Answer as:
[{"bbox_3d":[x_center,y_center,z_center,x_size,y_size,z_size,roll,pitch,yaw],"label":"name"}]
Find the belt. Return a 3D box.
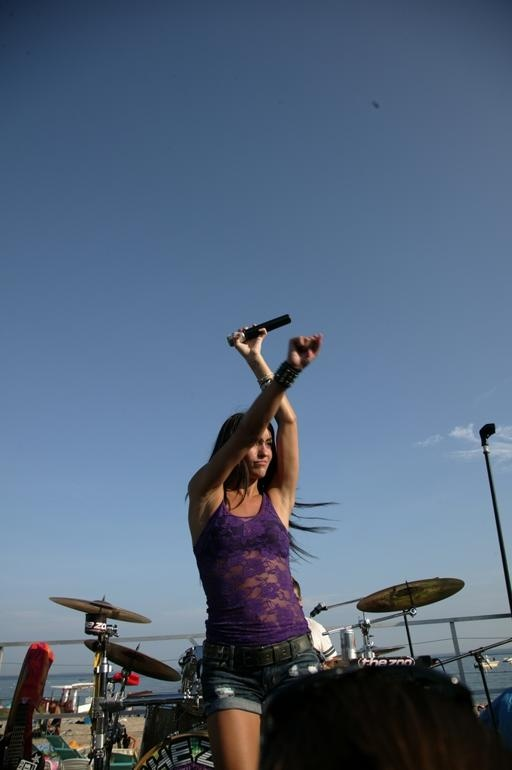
[{"bbox_3d":[0.010,0.640,1.527,0.273,0.072,0.122,-2,-26,-2],"label":"belt"}]
